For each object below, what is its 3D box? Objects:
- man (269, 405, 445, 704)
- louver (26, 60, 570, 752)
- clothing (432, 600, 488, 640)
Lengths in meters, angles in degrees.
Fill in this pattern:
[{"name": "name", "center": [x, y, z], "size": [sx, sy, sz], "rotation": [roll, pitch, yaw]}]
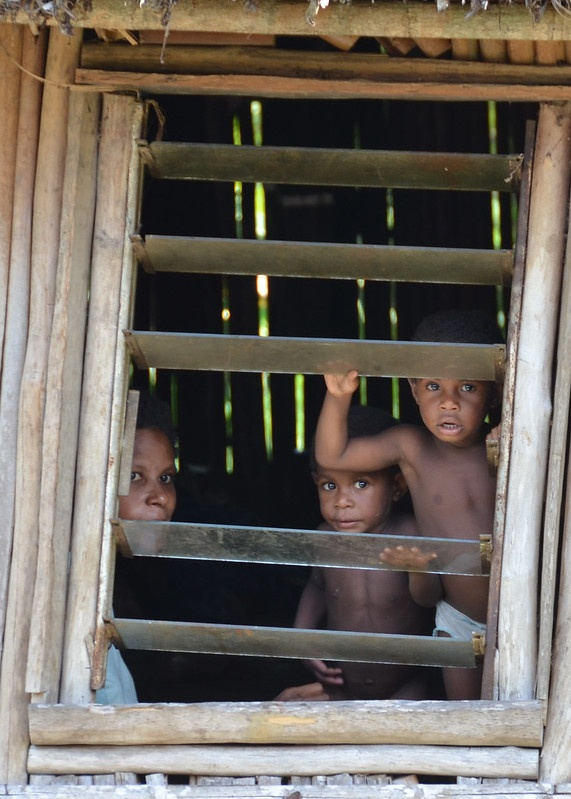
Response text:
[{"name": "man", "center": [0.218, 0.471, 5.799], "size": [0.522, 0.915, 0.525], "rotation": [7, 10, 45]}, {"name": "louver", "center": [0.061, 0.034, 4.594], "size": [1.186, 1.518, 0.575], "rotation": [2, 1, 3]}, {"name": "clothing", "center": [0.472, 0.591, 5.223], "size": [0.102, 0.097, 0.060], "rotation": [12, 4, 35]}]
